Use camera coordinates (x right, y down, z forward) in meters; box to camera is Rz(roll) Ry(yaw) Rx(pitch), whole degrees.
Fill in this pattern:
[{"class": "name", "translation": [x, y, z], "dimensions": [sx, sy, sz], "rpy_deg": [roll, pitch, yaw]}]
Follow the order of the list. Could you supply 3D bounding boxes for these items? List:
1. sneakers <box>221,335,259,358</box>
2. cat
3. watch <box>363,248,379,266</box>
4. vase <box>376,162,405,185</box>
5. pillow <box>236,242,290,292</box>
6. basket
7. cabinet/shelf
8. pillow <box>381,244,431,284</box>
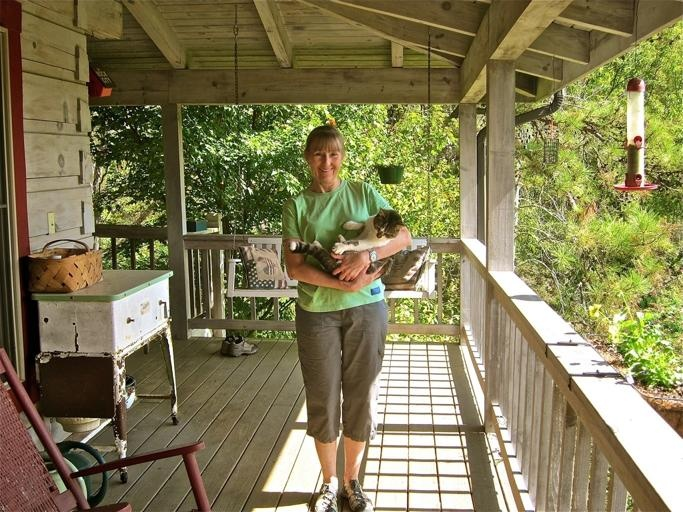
[{"class": "sneakers", "translation": [-1.016, 0.880, 5.246], "dimensions": [0.188, 0.138, 0.285], "rpy_deg": [8, 5, 31]}, {"class": "cat", "translation": [0.020, -0.068, 2.478], "dimensions": [0.530, 0.277, 0.185], "rpy_deg": [-3, 7, 5]}, {"class": "watch", "translation": [0.135, 0.002, 2.450], "dimensions": [0.064, 0.074, 0.061], "rpy_deg": [-7, 6, 43]}, {"class": "vase", "translation": [0.409, -0.686, 4.541], "dimensions": [0.184, 0.123, 0.191], "rpy_deg": [-1, 1, 15]}, {"class": "pillow", "translation": [-0.709, 0.096, 4.871], "dimensions": [0.414, 0.405, 0.128], "rpy_deg": [-4, 7, -8]}, {"class": "basket", "translation": [-1.703, 0.058, 3.297], "dimensions": [0.313, 0.352, 0.392], "rpy_deg": [5, 9, -5]}, {"class": "cabinet/shelf", "translation": [-1.507, 0.728, 3.530], "dimensions": [0.580, 1.113, 0.942], "rpy_deg": [1, 7, 4]}, {"class": "pillow", "translation": [0.459, 0.099, 4.021], "dimensions": [0.311, 0.144, 0.347], "rpy_deg": [-43, -2, -43]}]
